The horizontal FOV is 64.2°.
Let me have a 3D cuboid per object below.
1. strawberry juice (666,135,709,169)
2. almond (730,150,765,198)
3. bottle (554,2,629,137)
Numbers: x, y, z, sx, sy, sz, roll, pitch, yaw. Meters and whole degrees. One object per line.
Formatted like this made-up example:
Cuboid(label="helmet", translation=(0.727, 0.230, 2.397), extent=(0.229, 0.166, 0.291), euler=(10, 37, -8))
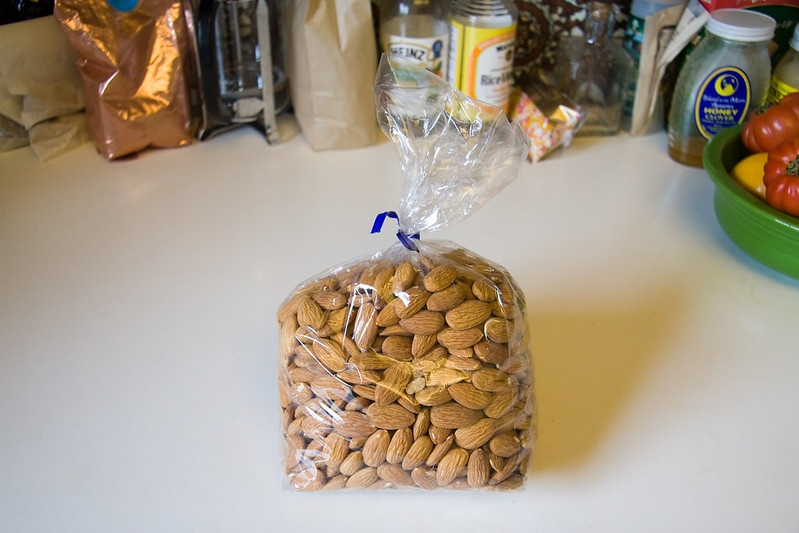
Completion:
Cuboid(label="strawberry juice", translation=(0.518, -0.208, 1.144), extent=(0.055, 0.065, 0.063), euler=(2, 43, 2))
Cuboid(label="almond", translation=(0.541, -0.144, 0.997), extent=(0.052, 0.036, 0.067), euler=(-1, 46, 16))
Cuboid(label="bottle", translation=(0.361, -0.369, 1.189), extent=(0.137, 0.228, 0.087), euler=(7, 36, 12))
